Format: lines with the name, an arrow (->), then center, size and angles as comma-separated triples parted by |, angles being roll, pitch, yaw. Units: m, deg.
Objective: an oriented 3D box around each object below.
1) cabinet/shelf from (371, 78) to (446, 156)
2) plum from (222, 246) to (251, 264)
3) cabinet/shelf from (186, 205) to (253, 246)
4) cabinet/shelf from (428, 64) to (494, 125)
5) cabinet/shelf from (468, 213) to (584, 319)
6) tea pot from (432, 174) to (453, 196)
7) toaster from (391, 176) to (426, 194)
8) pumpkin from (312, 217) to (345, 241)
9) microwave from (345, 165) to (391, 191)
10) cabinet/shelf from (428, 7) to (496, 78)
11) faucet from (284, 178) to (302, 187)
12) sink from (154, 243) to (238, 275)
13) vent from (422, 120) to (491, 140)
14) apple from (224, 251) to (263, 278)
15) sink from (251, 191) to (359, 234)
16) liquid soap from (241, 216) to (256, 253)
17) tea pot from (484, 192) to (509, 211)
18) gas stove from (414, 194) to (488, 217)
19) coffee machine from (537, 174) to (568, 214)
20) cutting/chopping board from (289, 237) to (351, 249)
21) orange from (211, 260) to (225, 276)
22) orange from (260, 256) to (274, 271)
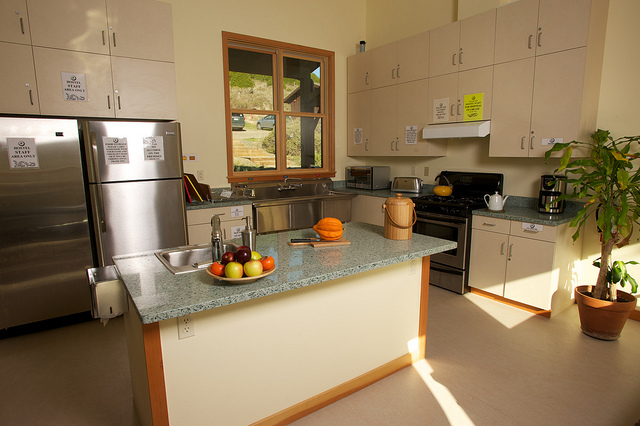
cabinet/shelf -> 1.305, -1.371, 6.350 | 1.282, 1.097, 0.460 | -11, 16, -43
plum -> -0.613, 0.316, 3.099 | 0.195, 0.111, 0.083 | -18, -27, 32
cabinet/shelf -> -1.278, 0.250, 5.337 | 0.764, 0.709, 0.291 | -8, 15, -19
cabinet/shelf -> 1.756, -1.455, 5.205 | 0.312, 0.595, 0.811 | -7, 9, -39
cabinet/shelf -> 2.380, 0.499, 5.027 | 0.761, 1.059, 0.964 | -11, 16, -37
tea pot -> 1.664, -0.381, 5.714 | 0.239, 0.268, 0.460 | 4, 12, 17
toaster -> 1.240, -0.405, 6.096 | 0.457, 0.230, 0.344 | 6, 12, 25
pumpkin -> 0.071, 0.138, 3.749 | 0.237, 0.190, 0.181 | 2, 7, 4
microwave -> 0.736, -0.531, 6.440 | 0.687, 0.349, 0.444 | 1, 11, 5
cabinet/shelf -> 1.748, -2.203, 5.328 | 1.158, 0.443, 0.819 | -1, -15, 20
faucet -> -0.427, -0.452, 6.208 | 0.321, 0.126, 0.191 | -9, 15, -41
sink -> -1.083, 0.370, 3.440 | 0.400, 0.164, 0.328 | -4, 9, -40
vent -> 1.670, -1.038, 5.278 | 0.211, 0.218, 0.849 | -10, 15, -41
apple -> -0.551, 0.362, 3.054 | 0.288, 0.179, 0.174 | -2, 12, -13
sink -> -0.206, -0.020, 5.845 | 1.580, 0.432, 0.209 | -7, 14, -35
liquid soap -> -0.560, 0.173, 3.302 | 0.107, 0.271, 0.274 | -2, 12, -11
tea pot -> 2.081, -0.117, 5.073 | 0.226, 0.252, 0.352 | -3, 5, -41
gas stove -> 1.634, -0.080, 5.184 | 0.364, 0.147, 0.490 | -5, 8, -36
coffee machine -> 2.582, -0.223, 4.758 | 0.253, 0.404, 0.253 | -2, 19, 14
cutting/chopping board -> -0.011, 0.252, 3.663 | 0.526, 0.054, 0.190 | 1, 11, 1
orange -> -0.740, 0.406, 3.107 | 0.092, 0.089, 0.093 | 17, 3, 43
orange -> -0.387, 0.379, 3.175 | 0.096, 0.085, 0.096 | -6, 1, 9
